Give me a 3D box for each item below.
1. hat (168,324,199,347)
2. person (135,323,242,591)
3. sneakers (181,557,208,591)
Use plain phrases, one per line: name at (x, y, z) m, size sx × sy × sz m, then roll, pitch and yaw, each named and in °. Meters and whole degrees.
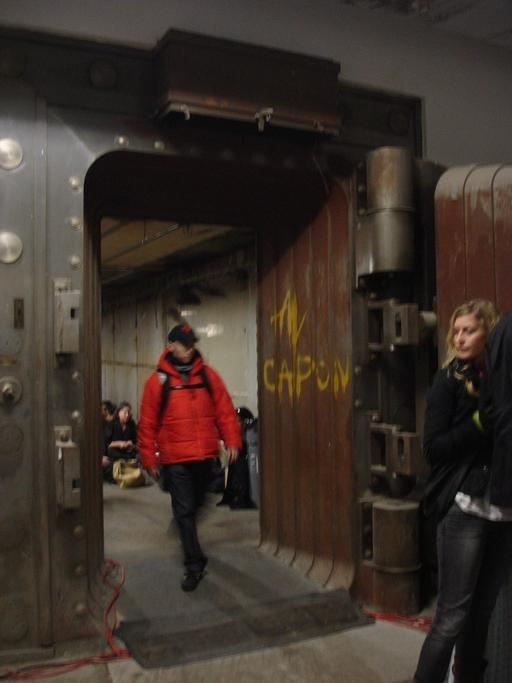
hat at (-0.505, -0.037, 4.719) m, size 0.117 × 0.133 × 0.165 m, roll 0°, pitch -8°, yaw -41°
person at (-0.435, 0.727, 4.678) m, size 0.692 × 1.692 × 0.546 m, roll 0°, pitch -1°, yaw -15°
sneakers at (-0.387, 1.487, 4.533) m, size 0.111 × 0.158 × 0.391 m, roll -1°, pitch -2°, yaw 18°
